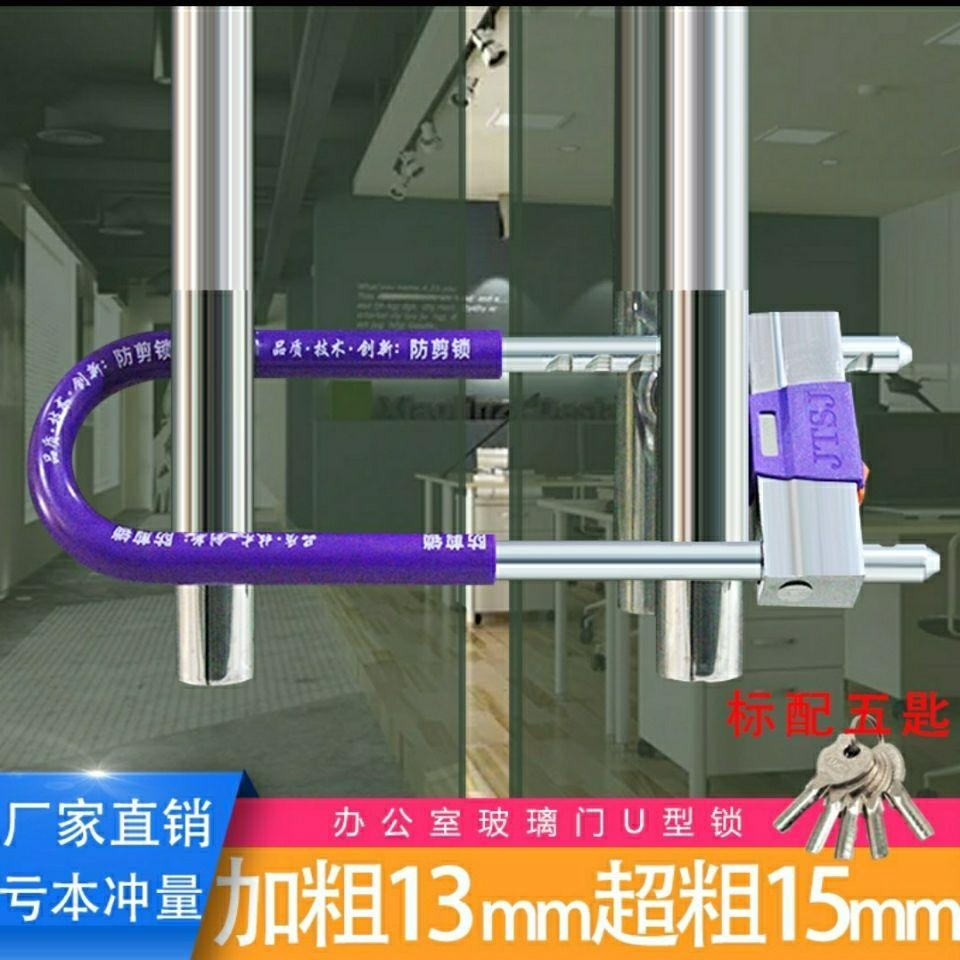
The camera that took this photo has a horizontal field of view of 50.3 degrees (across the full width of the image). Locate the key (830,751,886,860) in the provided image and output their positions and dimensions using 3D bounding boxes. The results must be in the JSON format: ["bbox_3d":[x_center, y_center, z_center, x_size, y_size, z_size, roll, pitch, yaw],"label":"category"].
[{"bbox_3d":[0.189,0.162,0.515,0.025,0.058,0.016,-6,9,20],"label":"key"}]

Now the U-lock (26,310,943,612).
[{"bbox_3d":[0.016,0.001,0.439,0.357,0.174,0.039,0,-30,-4],"label":"U-lock"}]
